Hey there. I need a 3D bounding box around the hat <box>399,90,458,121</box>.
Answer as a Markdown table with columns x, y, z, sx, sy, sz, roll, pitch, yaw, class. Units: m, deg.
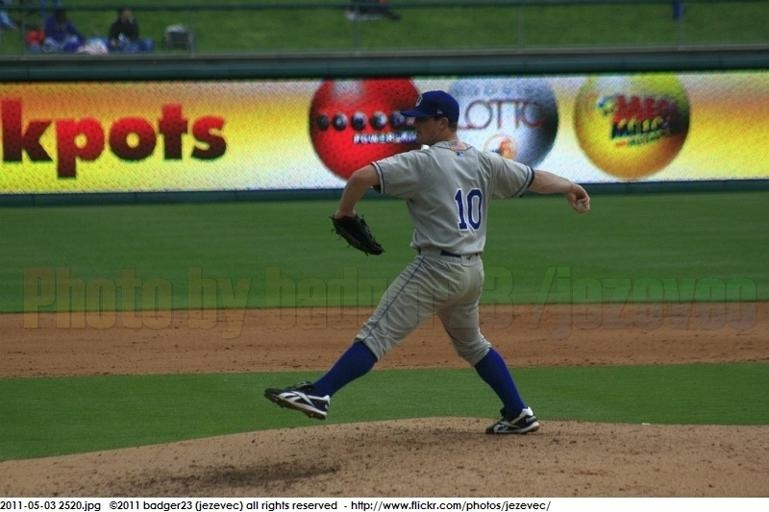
| x | y | z | sx | sy | sz | roll | pitch | yaw | class |
| --- | --- | --- | --- | --- | --- | --- | --- | --- | --- |
| 0.574 | -1.815 | 18.881 | 0.604 | 0.266 | 0.364 | 5 | 8 | 3 | hat |
